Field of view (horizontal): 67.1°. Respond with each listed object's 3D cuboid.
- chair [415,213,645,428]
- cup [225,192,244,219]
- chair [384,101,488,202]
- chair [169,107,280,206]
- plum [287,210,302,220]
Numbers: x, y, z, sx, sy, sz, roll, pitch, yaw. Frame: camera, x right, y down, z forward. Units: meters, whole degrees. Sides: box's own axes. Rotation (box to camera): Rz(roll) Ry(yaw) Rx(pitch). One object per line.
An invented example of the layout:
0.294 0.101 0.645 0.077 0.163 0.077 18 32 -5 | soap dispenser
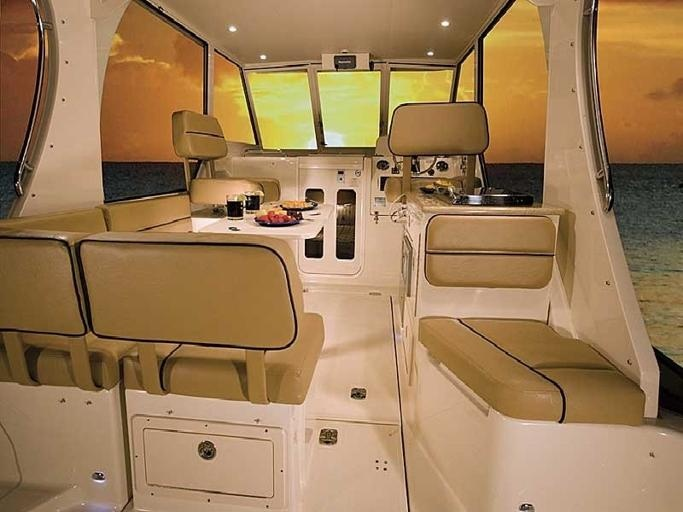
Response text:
0.843 0.235 2.460 0.876 0.788 0.785 -1 11 0 | chair
-0.687 -0.325 3.364 0.099 0.159 0.164 0 6 -6 | cup
0.620 -0.450 3.200 0.565 0.563 0.717 -5 43 14 | chair
-0.969 -0.692 4.555 0.779 0.972 1.049 1 12 -4 | chair
-0.278 -0.254 3.151 0.063 0.026 0.068 12 -10 1 | plum
